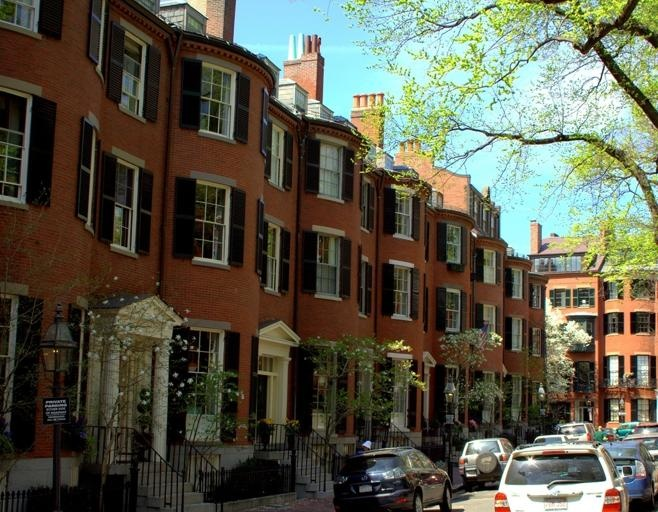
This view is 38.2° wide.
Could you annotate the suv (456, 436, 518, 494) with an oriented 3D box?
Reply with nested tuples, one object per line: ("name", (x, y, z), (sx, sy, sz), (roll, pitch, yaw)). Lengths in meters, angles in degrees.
("suv", (5.413, 7.215, 33.196), (1.722, 1.519, 3.290), (-7, -17, 16))
